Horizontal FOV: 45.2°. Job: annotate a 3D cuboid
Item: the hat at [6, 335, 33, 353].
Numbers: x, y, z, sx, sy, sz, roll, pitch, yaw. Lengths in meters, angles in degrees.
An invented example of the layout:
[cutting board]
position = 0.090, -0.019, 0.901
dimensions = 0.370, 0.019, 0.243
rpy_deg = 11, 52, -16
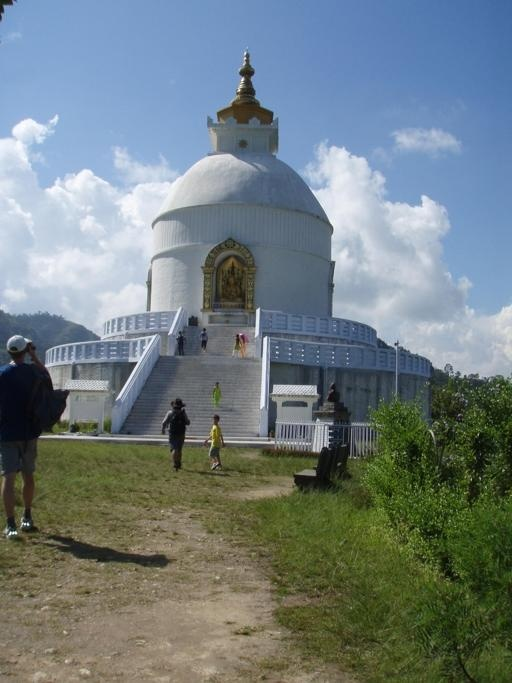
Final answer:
[hat]
position = -2.260, 0.020, 5.891
dimensions = 0.164, 0.129, 0.247
rpy_deg = 2, 25, 4

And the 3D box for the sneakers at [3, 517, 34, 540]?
[sneakers]
position = -2.170, 1.726, 5.645
dimensions = 0.117, 0.140, 0.307
rpy_deg = -2, -10, -2
